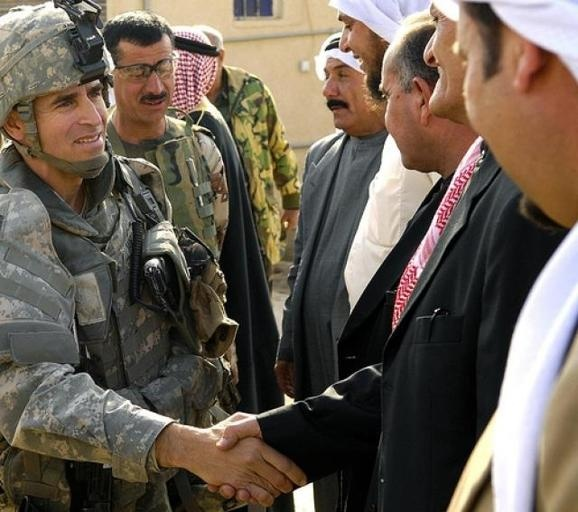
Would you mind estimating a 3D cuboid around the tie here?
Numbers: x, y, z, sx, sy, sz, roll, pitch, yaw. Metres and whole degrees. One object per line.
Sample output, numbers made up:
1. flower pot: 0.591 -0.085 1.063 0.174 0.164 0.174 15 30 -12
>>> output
1. tie: 0.454 -0.024 2.522 0.112 0.706 0.060 28 5 41
